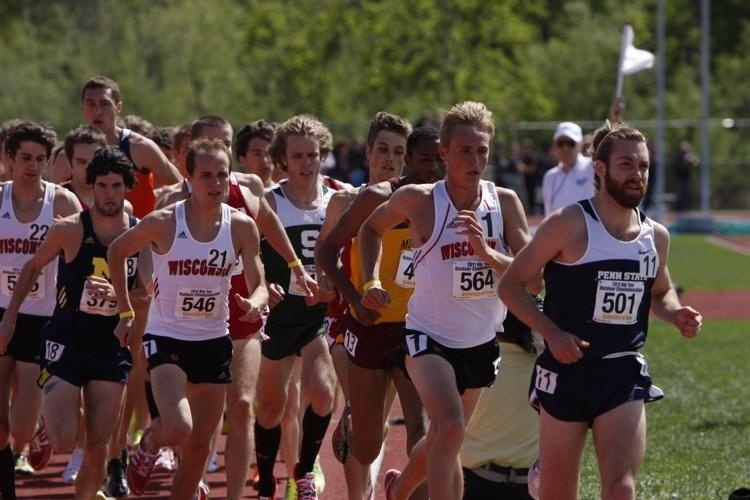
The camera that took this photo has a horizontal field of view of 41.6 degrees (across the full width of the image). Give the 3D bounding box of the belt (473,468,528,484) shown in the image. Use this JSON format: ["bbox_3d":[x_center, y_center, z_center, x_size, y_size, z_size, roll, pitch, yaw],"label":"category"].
[{"bbox_3d":[0.937,1.702,7.372,0.178,0.054,0.187,8,-1,-37],"label":"belt"}]

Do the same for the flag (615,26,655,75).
[{"bbox_3d":[2.831,-2.180,10.635,0.392,0.613,0.183,3,37,5],"label":"flag"}]
